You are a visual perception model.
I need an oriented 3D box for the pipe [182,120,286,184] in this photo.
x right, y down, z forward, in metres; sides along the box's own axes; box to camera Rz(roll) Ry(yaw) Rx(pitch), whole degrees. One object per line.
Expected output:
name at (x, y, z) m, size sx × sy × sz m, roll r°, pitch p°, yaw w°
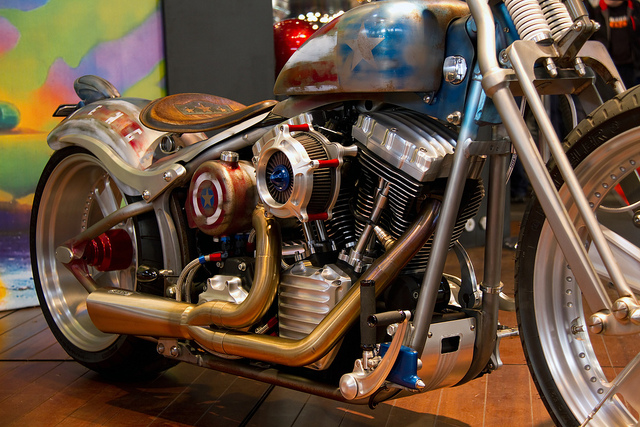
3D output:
pipe at (-0.303, -0.220, 1.994) m, size 0.371 × 0.105 × 0.066 m, roll -28°, pitch -31°, yaw 8°

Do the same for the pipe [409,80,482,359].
pipe at (0.373, 0.027, 1.656) m, size 0.294 × 0.828 × 0.094 m, roll -14°, pitch 18°, yaw -42°

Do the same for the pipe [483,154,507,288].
pipe at (0.547, 0.029, 1.722) m, size 0.046 × 0.480 × 0.045 m, roll 8°, pitch 12°, yaw 44°

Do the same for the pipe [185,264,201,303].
pipe at (-0.505, 0.277, 2.115) m, size 0.023 × 0.118 × 0.122 m, roll 5°, pitch 43°, yaw -37°

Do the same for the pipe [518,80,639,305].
pipe at (0.724, -0.081, 1.501) m, size 0.154 × 0.560 × 0.367 m, roll -12°, pitch 17°, yaw -39°

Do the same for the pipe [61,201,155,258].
pipe at (-0.992, 0.100, 2.451) m, size 0.201 × 0.099 × 0.326 m, roll 16°, pitch 37°, yaw 40°

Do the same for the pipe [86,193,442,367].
pipe at (-0.250, 0.136, 2.018) m, size 1.033 × 0.476 × 0.570 m, roll 0°, pitch 12°, yaw 29°

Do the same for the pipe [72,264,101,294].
pipe at (-1.073, 0.303, 2.499) m, size 0.185 × 0.048 × 0.045 m, roll 42°, pitch 40°, yaw 23°
